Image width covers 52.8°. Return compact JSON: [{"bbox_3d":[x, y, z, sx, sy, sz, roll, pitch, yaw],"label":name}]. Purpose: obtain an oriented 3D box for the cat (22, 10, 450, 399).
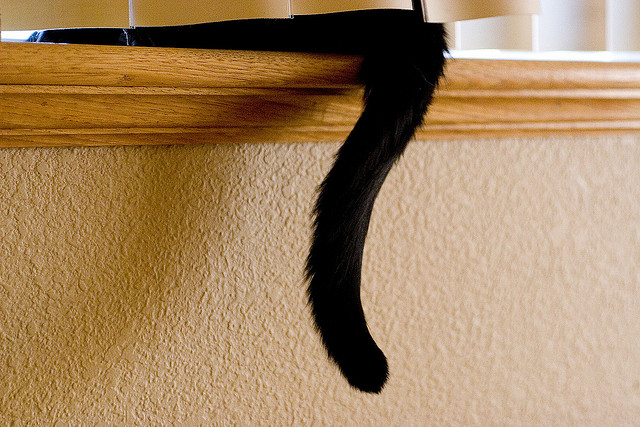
[{"bbox_3d":[-0.078,-0.042,0.954,0.461,0.504,0.213,8,19,20],"label":"cat"}]
